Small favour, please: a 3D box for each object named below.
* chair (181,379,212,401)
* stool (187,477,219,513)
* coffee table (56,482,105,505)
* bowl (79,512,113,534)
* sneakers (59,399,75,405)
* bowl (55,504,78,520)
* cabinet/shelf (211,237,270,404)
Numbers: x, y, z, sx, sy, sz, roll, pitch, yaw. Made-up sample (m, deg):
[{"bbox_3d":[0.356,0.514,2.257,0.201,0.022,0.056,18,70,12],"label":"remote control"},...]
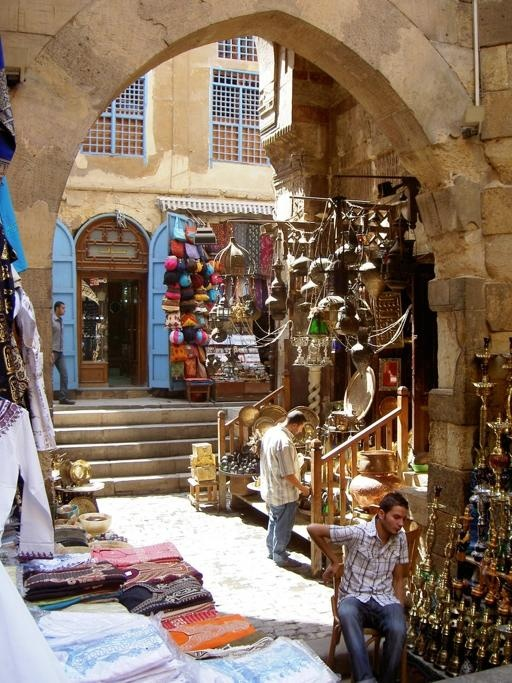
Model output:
[{"bbox_3d":[-0.915,0.795,11.914,0.378,0.329,0.379,0,-3,-11],"label":"chair"},{"bbox_3d":[-0.586,1.713,8.139,0.338,0.309,0.333,-1,4,-18],"label":"stool"},{"bbox_3d":[-1.384,1.163,5.636,0.254,0.081,0.272,0,-1,-3],"label":"coffee table"},{"bbox_3d":[-1.042,1.174,4.756,0.158,0.090,0.153,1,-6,0],"label":"bowl"},{"bbox_3d":[-2.764,0.906,10.729,0.244,0.101,0.088,-3,13,-22],"label":"sneakers"},{"bbox_3d":[-1.307,1.177,5.077,0.105,0.049,0.139,0,-2,4],"label":"bowl"},{"bbox_3d":[-0.358,-0.281,12.019,1.482,2.693,1.632,-3,-2,1],"label":"cabinet/shelf"}]
